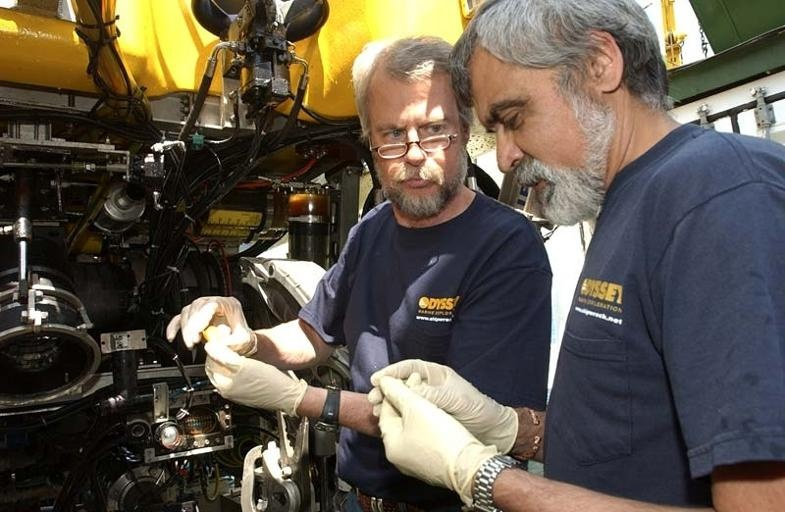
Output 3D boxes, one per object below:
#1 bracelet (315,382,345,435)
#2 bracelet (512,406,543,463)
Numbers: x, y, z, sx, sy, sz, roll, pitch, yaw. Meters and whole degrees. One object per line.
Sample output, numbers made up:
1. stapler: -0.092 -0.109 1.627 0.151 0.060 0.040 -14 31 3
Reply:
1. bracelet: -0.314 0.710 3.347 0.099 0.156 0.169 3 50 6
2. bracelet: 0.655 0.855 3.158 0.123 0.168 0.156 -27 17 -21
